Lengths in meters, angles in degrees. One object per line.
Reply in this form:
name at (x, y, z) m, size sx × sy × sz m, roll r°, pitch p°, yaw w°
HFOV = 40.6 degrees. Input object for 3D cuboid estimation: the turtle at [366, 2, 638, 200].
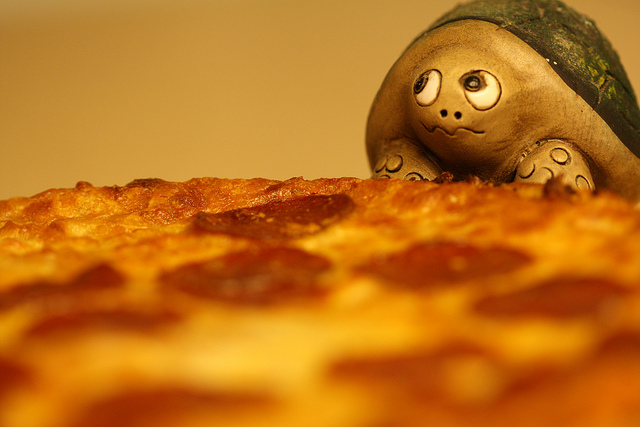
turtle at (0.385, -0.207, 1.748) m, size 0.568 × 0.383 × 0.247 m, roll 2°, pitch -9°, yaw 9°
